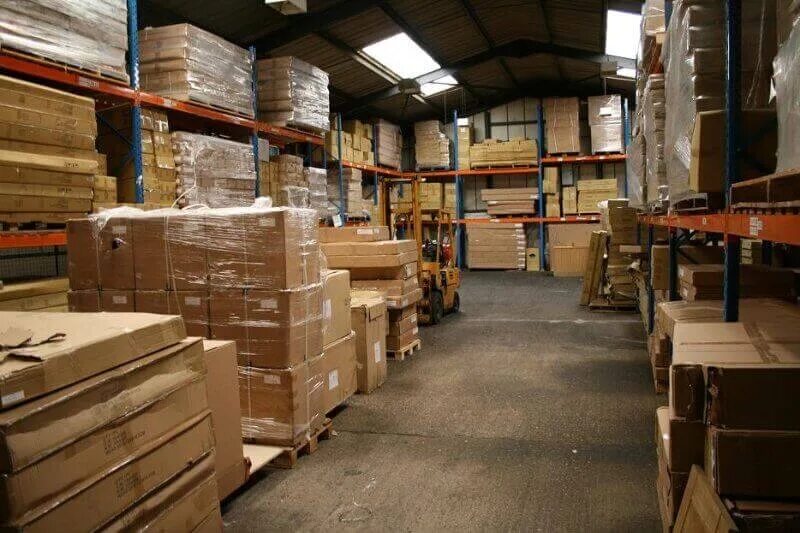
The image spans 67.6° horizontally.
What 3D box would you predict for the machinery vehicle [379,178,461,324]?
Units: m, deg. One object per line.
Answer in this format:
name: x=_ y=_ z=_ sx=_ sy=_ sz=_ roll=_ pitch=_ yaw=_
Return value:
machinery vehicle: x=0.246 y=-0.291 z=10.779 sx=1.121 sy=2.517 sz=3.101 roll=0 pitch=1 yaw=21
